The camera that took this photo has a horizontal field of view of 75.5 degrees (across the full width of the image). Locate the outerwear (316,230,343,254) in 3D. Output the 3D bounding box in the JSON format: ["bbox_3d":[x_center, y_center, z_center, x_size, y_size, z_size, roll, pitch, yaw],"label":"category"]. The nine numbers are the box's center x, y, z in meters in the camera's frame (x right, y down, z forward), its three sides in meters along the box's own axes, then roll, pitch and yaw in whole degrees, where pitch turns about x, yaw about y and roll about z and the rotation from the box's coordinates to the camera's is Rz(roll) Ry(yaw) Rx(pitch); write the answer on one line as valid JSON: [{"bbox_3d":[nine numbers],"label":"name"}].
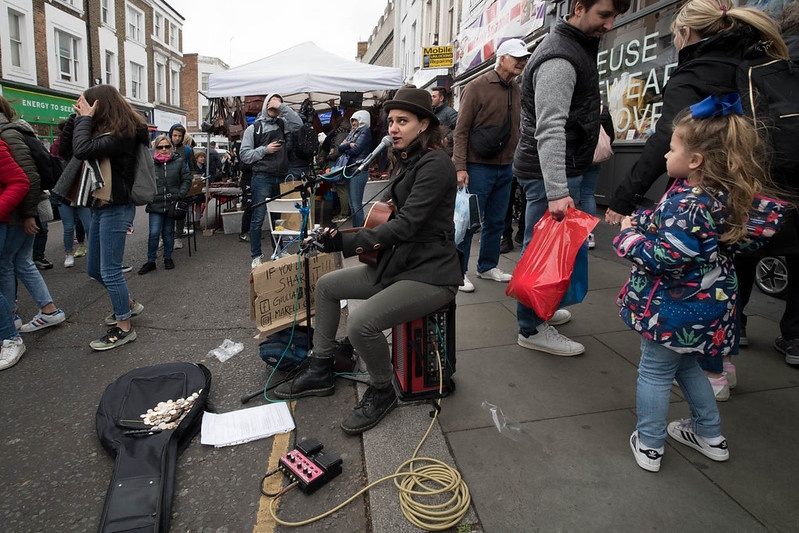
[{"bbox_3d":[-0.508,-0.187,3.846,0.148,0.083,0.187,11,-8,-25],"label":"outerwear"}]

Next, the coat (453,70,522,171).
[{"bbox_3d":[1.080,-1.633,5.851,0.917,1.147,0.494,3,5,-23],"label":"coat"}]

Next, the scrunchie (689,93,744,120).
[{"bbox_3d":[1.915,-1.014,3.161,0.215,0.086,0.207,-1,21,-2],"label":"scrunchie"}]

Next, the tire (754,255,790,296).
[{"bbox_3d":[3.687,0.080,5.121,0.115,0.291,0.288,0,42,-25],"label":"tire"}]

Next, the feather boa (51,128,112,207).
[{"bbox_3d":[-3.084,-0.953,5.268,0.737,0.686,0.296,5,-5,4],"label":"feather boa"}]

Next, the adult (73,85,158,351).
[{"bbox_3d":[-2.844,-0.508,5.238,0.740,2.614,0.619,-7,14,-23],"label":"adult"}]

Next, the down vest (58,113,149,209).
[{"bbox_3d":[-3.123,-1.119,5.355,0.832,0.899,0.746,8,5,12],"label":"down vest"}]

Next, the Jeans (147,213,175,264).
[{"bbox_3d":[-3.701,-0.488,8.138,0.398,0.330,1.394,-9,36,-19],"label":"Jeans"}]

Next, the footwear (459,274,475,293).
[{"bbox_3d":[0.789,0.204,6.070,0.162,0.190,0.461,-7,1,-3],"label":"footwear"}]

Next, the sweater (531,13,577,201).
[{"bbox_3d":[1.249,-1.070,4.216,0.326,1.221,0.313,2,13,15],"label":"sweater"}]

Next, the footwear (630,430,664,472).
[{"bbox_3d":[1.670,1.265,3.540,0.123,0.134,0.326,0,9,9],"label":"footwear"}]

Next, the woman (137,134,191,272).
[{"bbox_3d":[-3.718,-1.024,8.168,0.939,2.118,0.688,-7,14,-41],"label":"woman"}]

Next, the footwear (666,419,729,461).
[{"bbox_3d":[2.028,1.193,3.633,0.164,0.178,0.435,-10,23,-25],"label":"footwear"}]

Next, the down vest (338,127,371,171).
[{"bbox_3d":[-0.835,-2.194,9.695,0.525,0.841,0.698,0,6,-45],"label":"down vest"}]

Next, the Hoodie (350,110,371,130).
[{"bbox_3d":[-0.690,-2.722,9.525,0.402,0.318,0.295,-11,25,-39],"label":"Hoodie"}]

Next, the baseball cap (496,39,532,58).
[{"bbox_3d":[1.225,-2.348,5.593,0.240,0.174,0.322,-10,19,-30],"label":"baseball cap"}]

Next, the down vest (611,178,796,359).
[{"bbox_3d":[1.891,-0.009,3.533,1.014,1.008,0.860,7,6,11],"label":"down vest"}]

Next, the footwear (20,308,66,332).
[{"bbox_3d":[-3.816,0.603,5.666,0.509,0.202,0.186,-10,11,-28],"label":"footwear"}]

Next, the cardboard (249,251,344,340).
[{"bbox_3d":[-0.894,0.272,4.541,0.292,0.576,0.810,17,26,40],"label":"cardboard"}]

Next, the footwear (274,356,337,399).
[{"bbox_3d":[-0.720,0.943,4.430,0.619,0.395,0.247,1,10,-2],"label":"footwear"}]

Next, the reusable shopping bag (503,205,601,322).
[{"bbox_3d":[1.388,-0.003,4.463,0.728,0.912,0.374,26,8,39],"label":"reusable shopping bag"}]

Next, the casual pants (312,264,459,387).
[{"bbox_3d":[-0.120,0.421,4.172,1.254,0.792,0.903,-5,26,0],"label":"casual pants"}]

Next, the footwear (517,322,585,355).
[{"bbox_3d":[1.356,0.651,4.755,0.639,0.252,0.218,3,30,26],"label":"footwear"}]

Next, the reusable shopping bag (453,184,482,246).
[{"bbox_3d":[0.679,-0.553,5.264,0.315,0.626,0.674,-2,14,-1],"label":"reusable shopping bag"}]
